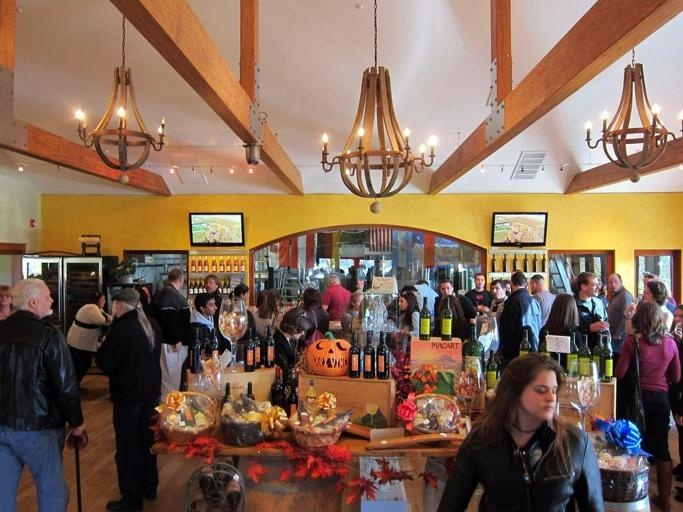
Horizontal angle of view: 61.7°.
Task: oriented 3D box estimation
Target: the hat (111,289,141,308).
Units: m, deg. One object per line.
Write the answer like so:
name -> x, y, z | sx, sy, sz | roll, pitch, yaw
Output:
hat -> -1.995, 0.378, 5.357 | 0.250, 0.142, 0.180 | 12, 3, 31

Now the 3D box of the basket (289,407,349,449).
basket -> -0.158, 1.234, 4.074 | 0.412, 0.210, 0.456 | 1, 3, -16

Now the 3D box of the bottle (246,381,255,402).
bottle -> -0.673, 1.022, 4.292 | 0.066, 0.145, 0.234 | 0, -1, -9

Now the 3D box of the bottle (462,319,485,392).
bottle -> 1.009, 0.777, 4.400 | 0.218, 0.558, 0.221 | 0, 1, 0

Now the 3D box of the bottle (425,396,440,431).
bottle -> 0.643, 1.133, 4.020 | 0.075, 0.152, 0.109 | 0, -1, 1

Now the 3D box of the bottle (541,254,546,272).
bottle -> 3.569, 0.122, 10.105 | 0.113, 0.306, 0.029 | 0, -1, -1

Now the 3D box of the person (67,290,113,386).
person -> -3.234, 1.080, 7.444 | 0.557, 1.181, 0.485 | 7, 1, -44

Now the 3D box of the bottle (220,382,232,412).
bottle -> -0.833, 1.004, 4.190 | 0.067, 0.165, 0.329 | 0, -1, -11

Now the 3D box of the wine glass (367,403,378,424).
wine glass -> 0.231, 1.152, 4.179 | 0.073, 0.125, 0.074 | 0, -1, 4

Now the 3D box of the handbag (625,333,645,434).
handbag -> 2.704, 1.177, 5.237 | 0.102, 0.874, 0.193 | -1, -2, 44

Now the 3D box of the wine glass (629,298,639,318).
wine glass -> 3.252, 0.586, 6.398 | 0.058, 0.183, 0.178 | 18, -24, 4

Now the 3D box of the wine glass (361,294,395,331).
wine glass -> 0.337, 0.538, 5.246 | 0.289, 0.356, 0.311 | -16, -18, 39

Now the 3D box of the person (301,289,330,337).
person -> -0.308, 0.743, 6.674 | 0.325, 0.761, 0.331 | 5, 22, 5

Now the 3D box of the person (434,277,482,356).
person -> 1.229, 0.619, 6.014 | 0.330, 0.894, 0.467 | -26, 16, -30

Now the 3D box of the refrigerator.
refrigerator -> -4.927, 0.587, 10.218 | 1.251, 1.947, 0.641 | 2, 36, -24

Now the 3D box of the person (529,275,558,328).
person -> 2.668, 0.593, 7.657 | 0.278, 0.252, 0.800 | 7, -40, 26

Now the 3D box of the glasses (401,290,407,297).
glasses -> 0.731, 0.440, 6.652 | 0.070, 0.062, 0.060 | -2, -5, 22

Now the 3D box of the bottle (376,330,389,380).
bottle -> 0.309, 0.742, 4.280 | 0.084, 0.328, 0.125 | 0, -1, 21

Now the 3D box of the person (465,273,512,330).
person -> 1.994, 0.606, 7.699 | 0.309, 1.006, 0.366 | 7, -14, -37

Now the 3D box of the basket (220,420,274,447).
basket -> -0.679, 1.227, 4.004 | 0.218, 0.111, 0.181 | 3, -6, 0

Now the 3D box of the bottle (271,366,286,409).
bottle -> -0.496, 1.030, 4.542 | 0.119, 0.291, 0.305 | 0, -1, -7

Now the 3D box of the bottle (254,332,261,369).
bottle -> -0.659, 0.778, 4.594 | 0.056, 0.223, 0.244 | 0, -1, -7

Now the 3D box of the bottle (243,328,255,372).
bottle -> -0.712, 0.739, 4.517 | 0.078, 0.313, 0.217 | 0, -1, -10

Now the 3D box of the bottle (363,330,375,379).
bottle -> 0.217, 0.744, 4.355 | 0.089, 0.330, 0.234 | 0, -1, 2

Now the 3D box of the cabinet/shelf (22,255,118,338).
cabinet/shelf -> -4.804, 0.710, 9.871 | 1.216, 1.286, 0.482 | 4, -17, -39

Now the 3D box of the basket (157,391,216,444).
basket -> -1.080, 1.123, 4.024 | 0.363, 0.328, 0.305 | 1, -6, 1
